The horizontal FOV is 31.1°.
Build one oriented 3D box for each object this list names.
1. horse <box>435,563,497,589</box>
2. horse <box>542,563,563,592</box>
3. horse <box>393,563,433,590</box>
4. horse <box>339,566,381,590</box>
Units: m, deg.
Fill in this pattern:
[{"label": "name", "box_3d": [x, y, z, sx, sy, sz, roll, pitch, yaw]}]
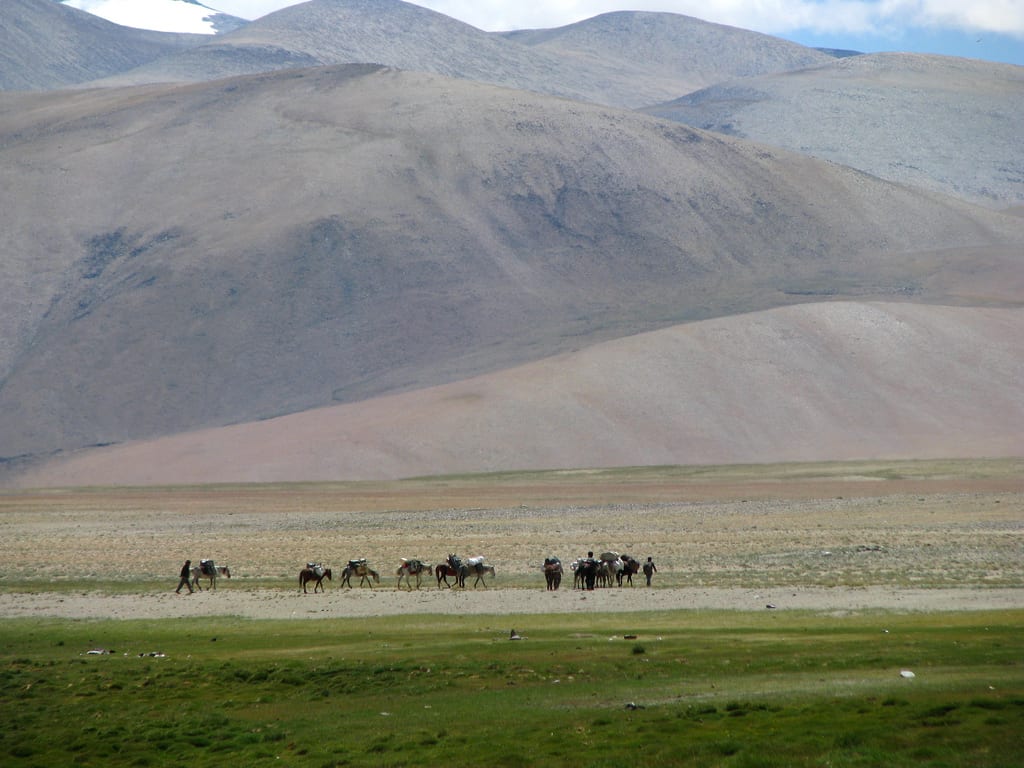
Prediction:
[{"label": "horse", "box_3d": [-2.453, 9.655, 95.091, 2.997, 1.332, 2.078, -4, 14, -9]}, {"label": "horse", "box_3d": [2.112, 9.633, 93.717, 0.827, 1.455, 1.153, -5, 15, -7]}, {"label": "horse", "box_3d": [-5.067, 9.603, 95.330, 1.953, 1.245, 2.474, -3, 13, -3]}, {"label": "horse", "box_3d": [-7.891, 9.795, 95.291, 1.980, 1.066, 1.951, -3, 13, -5]}]
